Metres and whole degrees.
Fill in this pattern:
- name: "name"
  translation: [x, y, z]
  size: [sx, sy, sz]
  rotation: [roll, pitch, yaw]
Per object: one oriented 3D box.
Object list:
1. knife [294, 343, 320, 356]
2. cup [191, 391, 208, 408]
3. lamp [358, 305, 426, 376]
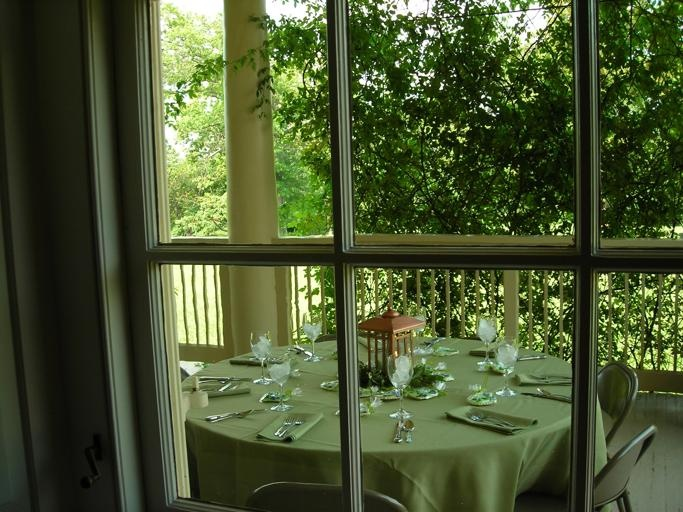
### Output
- name: "knife"
  translation: [-0.156, 0.366, 2.685]
  size: [0.030, 0.010, 0.179]
  rotation: [-8, 5, -18]
- name: "cup"
  translation: [-0.447, 0.452, 2.122]
  size: [0.045, 0.047, 0.046]
  rotation: [0, 4, 0]
- name: "lamp"
  translation: [0.156, 0.278, 2.272]
  size: [0.215, 0.214, 0.238]
  rotation: [-2, 7, -2]
